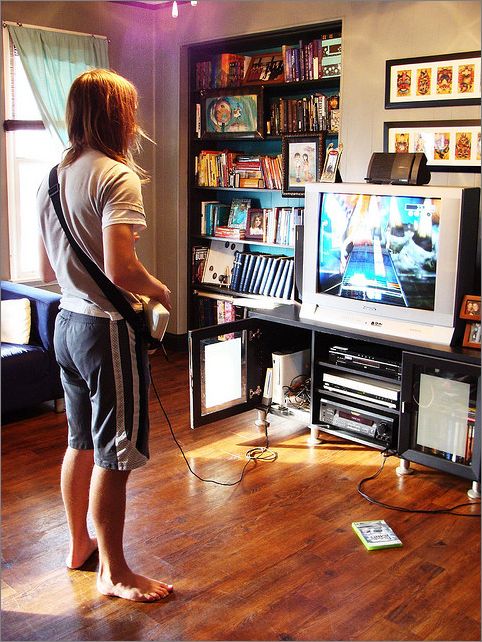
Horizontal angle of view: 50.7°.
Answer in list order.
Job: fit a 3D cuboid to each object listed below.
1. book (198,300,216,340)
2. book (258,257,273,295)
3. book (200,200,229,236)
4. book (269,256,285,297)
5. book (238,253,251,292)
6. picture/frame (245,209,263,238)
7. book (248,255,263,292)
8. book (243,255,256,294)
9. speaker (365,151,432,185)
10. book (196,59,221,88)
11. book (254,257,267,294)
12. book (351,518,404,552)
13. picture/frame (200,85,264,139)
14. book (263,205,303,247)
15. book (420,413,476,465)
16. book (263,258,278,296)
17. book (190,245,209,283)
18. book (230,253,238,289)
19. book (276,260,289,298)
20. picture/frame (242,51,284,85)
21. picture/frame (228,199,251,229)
[{"bbox_3d":[-0.259,-0.024,4.301,0.186,0.395,0.281,1,8,3],"label":"book"},{"bbox_3d":[0.171,-0.313,3.674,0.042,0.202,0.191,7,17,4],"label":"book"},{"bbox_3d":[-0.226,-0.802,4.234,0.218,0.335,0.316,5,6,32],"label":"book"},{"bbox_3d":[0.254,-0.302,3.590,0.044,0.207,0.195,13,18,1],"label":"book"},{"bbox_3d":[0.020,-0.355,3.833,0.044,0.218,0.202,8,13,10],"label":"book"},{"bbox_3d":[0.098,-0.727,3.805,0.023,0.256,0.187,-5,8,-40],"label":"picture/frame"},{"bbox_3d":[0.105,-0.348,3.742,0.040,0.194,0.179,9,18,-1],"label":"book"},{"bbox_3d":[0.058,-0.350,3.801,0.044,0.212,0.196,6,13,3],"label":"book"},{"bbox_3d":[0.738,-0.710,2.375,0.188,0.127,0.146,14,31,39],"label":"speaker"},{"bbox_3d":[-0.248,-1.901,3.909,0.027,0.272,0.262,-6,13,-40],"label":"book"},{"bbox_3d":[0.138,-0.336,3.706,0.042,0.203,0.190,10,16,1],"label":"book"},{"bbox_3d":[0.477,0.764,1.800,0.131,0.025,0.154,0,6,-12],"label":"book"},{"bbox_3d":[-0.070,-1.515,3.723,0.613,0.395,0.056,6,7,42],"label":"picture/frame"},{"bbox_3d":[0.278,-0.661,3.569,0.114,0.286,0.434,-1,6,-24],"label":"book"},{"bbox_3d":[0.871,0.484,2.166,0.021,0.224,0.243,-3,7,-41],"label":"book"},{"bbox_3d":[0.211,-0.313,3.632,0.038,0.202,0.193,13,15,6],"label":"book"},{"bbox_3d":[-0.362,-0.473,4.242,0.053,0.263,0.235,2,2,-18],"label":"book"},{"bbox_3d":[-0.047,-0.382,3.935,0.043,0.215,0.192,5,10,4],"label":"book"},{"bbox_3d":[0.295,-0.288,3.546,0.058,0.218,0.153,8,6,22],"label":"book"},{"bbox_3d":[0.158,-1.764,3.565,0.329,0.264,0.035,14,4,40],"label":"picture/frame"},{"bbox_3d":[-0.011,-0.825,3.947,0.034,0.321,0.217,12,-1,-38],"label":"picture/frame"}]
